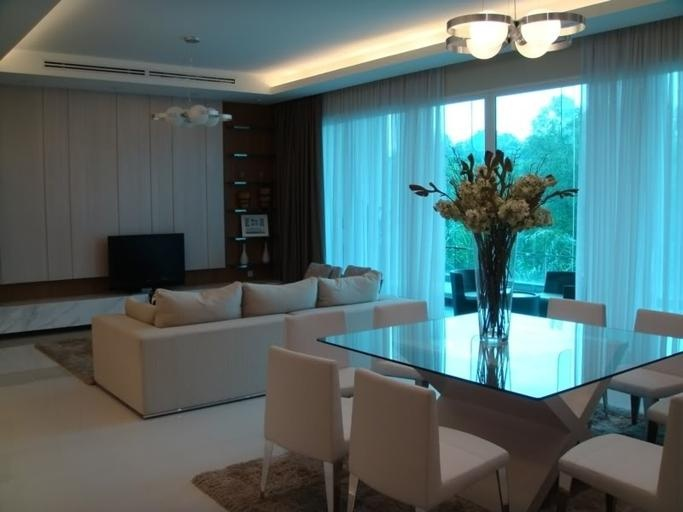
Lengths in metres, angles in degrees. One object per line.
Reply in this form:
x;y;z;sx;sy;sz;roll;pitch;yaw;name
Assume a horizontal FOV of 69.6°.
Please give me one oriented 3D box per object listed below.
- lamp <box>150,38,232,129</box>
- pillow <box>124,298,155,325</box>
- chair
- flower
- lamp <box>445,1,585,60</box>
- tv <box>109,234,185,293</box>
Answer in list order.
-2.167;-2.407;6.938;1.088;1.255;1.067;0;5;-20;lamp
-1.843;0.521;4.530;0.254;0.269;0.104;16;11;33;pillow
0.962;0.936;3.132;1.909;0.902;1.449;5;10;38;chair
0.884;-0.044;3.380;1.097;1.317;1.143;0;-1;-6;flower
1.017;-1.289;2.930;0.756;0.244;0.561;1;8;12;lamp
-3.045;0.138;7.545;0.784;0.674;0.177;-3;6;-34;tv
